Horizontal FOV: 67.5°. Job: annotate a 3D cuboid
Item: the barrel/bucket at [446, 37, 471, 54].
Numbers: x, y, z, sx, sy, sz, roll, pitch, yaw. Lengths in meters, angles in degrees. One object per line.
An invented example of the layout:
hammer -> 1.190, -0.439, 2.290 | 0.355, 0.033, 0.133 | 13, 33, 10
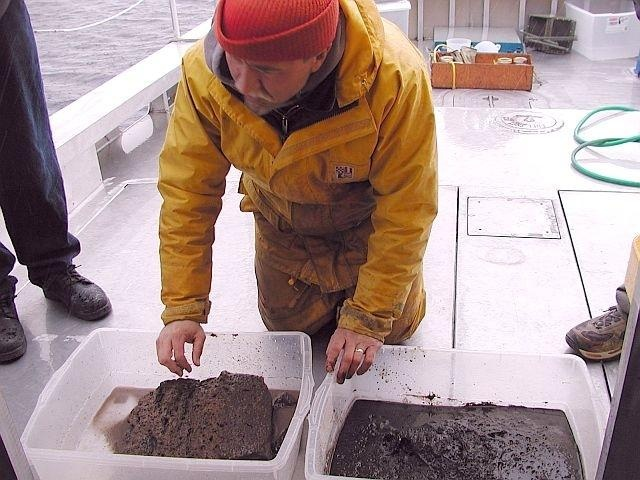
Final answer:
barrel/bucket -> 1.073, -1.519, 3.750 | 0.159, 0.124, 0.167 | -6, 41, 5

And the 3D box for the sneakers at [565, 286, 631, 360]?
sneakers -> 0.998, 0.294, 1.664 | 0.317, 0.241, 0.107 | 4, 8, -19

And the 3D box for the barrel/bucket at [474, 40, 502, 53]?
barrel/bucket -> 1.296, -1.476, 3.714 | 0.188, 0.081, 0.296 | 7, 32, 19
